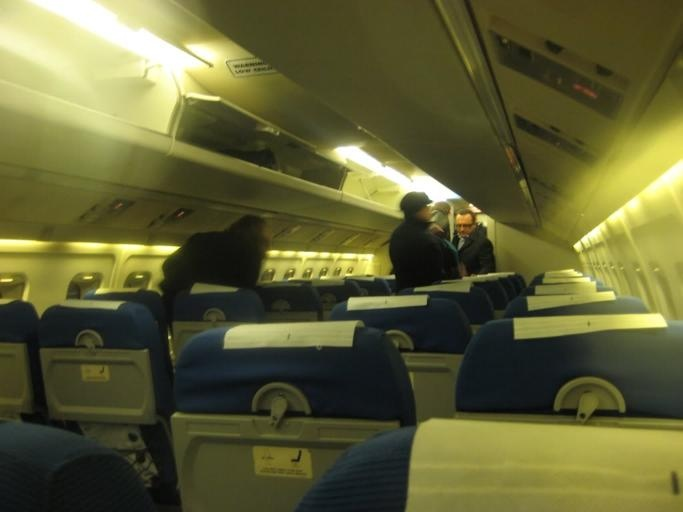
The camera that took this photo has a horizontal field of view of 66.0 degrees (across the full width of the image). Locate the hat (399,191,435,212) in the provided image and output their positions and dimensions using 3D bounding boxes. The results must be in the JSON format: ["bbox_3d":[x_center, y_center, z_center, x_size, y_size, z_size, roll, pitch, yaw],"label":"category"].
[{"bbox_3d":[0.798,-0.568,5.589,0.276,0.162,0.204,-19,7,1],"label":"hat"}]
